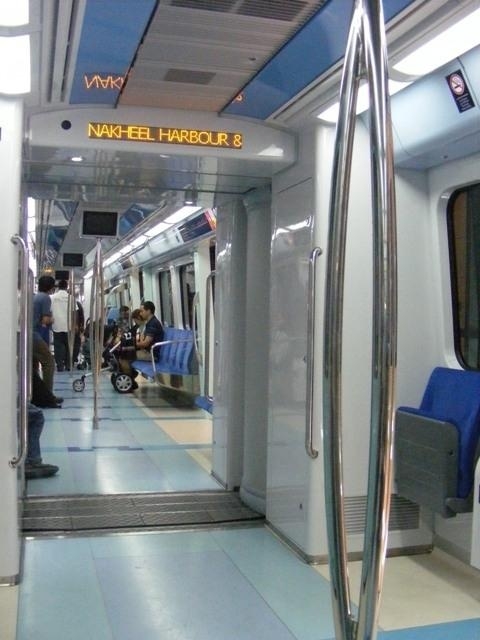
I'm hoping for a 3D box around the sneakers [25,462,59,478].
[{"bbox_3d":[-1.993,1.500,4.729,0.334,0.162,0.126,1,0,-21],"label":"sneakers"}]

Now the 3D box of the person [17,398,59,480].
[{"bbox_3d":[-1.968,1.200,4.655,0.312,0.770,0.724,3,-3,-21],"label":"person"}]
